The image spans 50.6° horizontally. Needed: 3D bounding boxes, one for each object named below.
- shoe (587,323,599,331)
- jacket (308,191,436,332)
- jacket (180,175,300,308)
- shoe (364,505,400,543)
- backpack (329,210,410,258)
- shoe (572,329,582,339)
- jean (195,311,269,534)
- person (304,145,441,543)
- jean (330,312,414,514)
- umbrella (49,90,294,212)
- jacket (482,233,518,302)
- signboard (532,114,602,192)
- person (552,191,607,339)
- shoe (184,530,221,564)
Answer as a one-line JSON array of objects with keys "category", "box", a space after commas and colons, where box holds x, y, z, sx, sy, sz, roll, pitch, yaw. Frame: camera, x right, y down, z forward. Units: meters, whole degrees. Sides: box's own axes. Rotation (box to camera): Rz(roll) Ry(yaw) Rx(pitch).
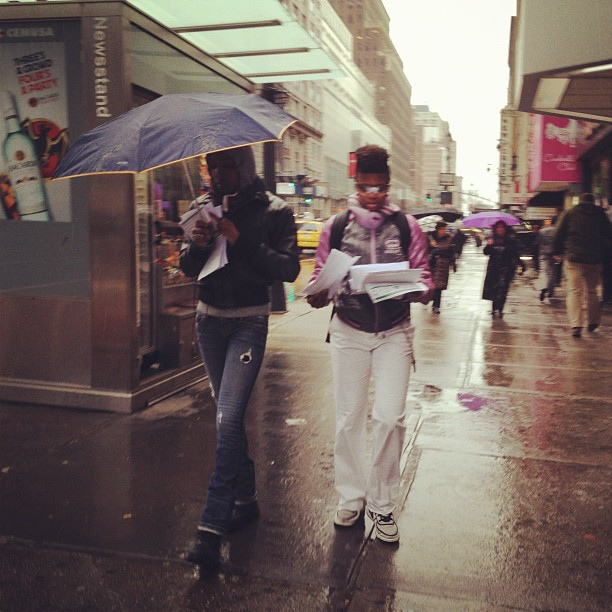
[{"category": "shoe", "box": [4.624, 0.332, 10.481, 0.157, 0.130, 0.208, 4, 8, 23]}, {"category": "jacket", "box": [0.353, -0.245, 3.517, 0.655, 0.747, 0.356, 1, 8, -1]}, {"category": "jacket", "box": [-0.343, -0.334, 3.365, 0.626, 0.681, 0.392, 0, 8, -4]}, {"category": "shoe", "box": [0.429, 1.184, 3.489, 0.153, 0.119, 0.177, 2, 7, 7]}, {"category": "backpack", "box": [0.347, -0.414, 3.530, 0.408, 0.262, 0.350, 1, 11, 3]}, {"category": "shoe", "box": [4.201, 0.429, 10.055, 0.123, 0.144, 0.138, -2, 2, 7]}, {"category": "jean", "box": [-0.367, 0.591, 3.331, 0.375, 1.077, 0.623, -1, 8, -10]}, {"category": "person", "box": [0.336, 0.189, 3.477, 0.648, 2.105, 0.489, 2, 8, 10]}, {"category": "jean", "box": [0.346, 0.599, 3.563, 0.451, 1.105, 0.273, 1, 8, 3]}, {"category": "umbrella", "box": [-0.619, -0.874, 3.213, 1.114, 0.469, 0.749, 4, 8, 23]}, {"category": "jacket", "box": [3.856, -0.788, 12.910, 0.624, 1.321, 1.121, 3, 8, 18]}, {"category": "signboard", "box": [8.870, -5.520, 22.946, 2.106, 2.743, 2.009, 5, 1, -13]}, {"category": "person", "box": [4.302, -0.680, 10.272, 0.710, 2.220, 0.934, 5, 9, 26]}, {"category": "shoe", "box": [-0.460, 1.146, 3.097, 0.191, 0.168, 0.109, 13, -12, -3]}]
